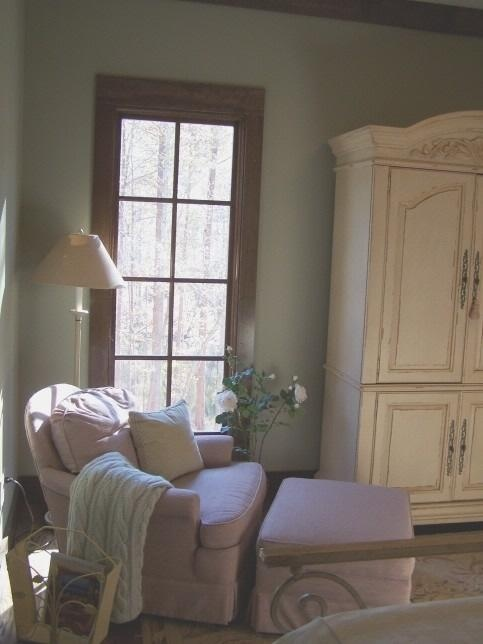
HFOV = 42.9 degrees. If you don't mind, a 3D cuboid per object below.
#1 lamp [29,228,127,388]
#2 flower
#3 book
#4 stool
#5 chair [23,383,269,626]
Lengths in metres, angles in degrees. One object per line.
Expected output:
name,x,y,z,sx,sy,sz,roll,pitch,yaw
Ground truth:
lamp,-0.797,0.041,2.980,0.379,0.964,0.218,3,19,-11
flower,0.041,0.449,3.398,0.285,0.597,0.467,4,6,42
book,-0.549,0.909,2.012,0.221,0.225,0.061,7,4,15
stool,0.351,0.817,2.323,0.618,0.386,0.599,-1,17,2
chair,-0.362,0.680,2.605,0.907,0.758,0.703,2,10,17
